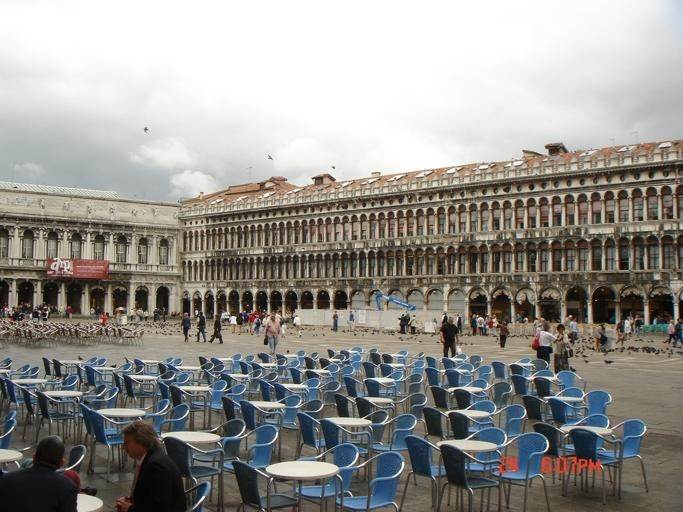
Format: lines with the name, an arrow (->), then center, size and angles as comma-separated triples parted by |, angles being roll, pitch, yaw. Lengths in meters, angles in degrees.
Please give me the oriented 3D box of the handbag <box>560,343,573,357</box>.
handbag -> 6.857, 2.887, 25.351 | 0.298, 0.335, 1.274 | 4, -16, 15
